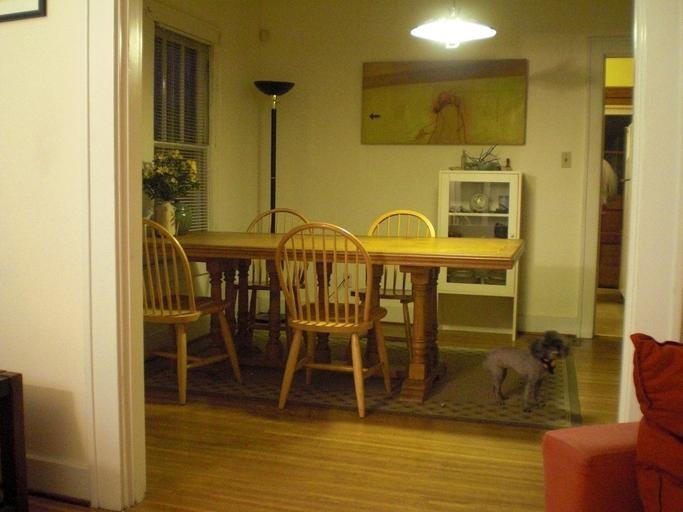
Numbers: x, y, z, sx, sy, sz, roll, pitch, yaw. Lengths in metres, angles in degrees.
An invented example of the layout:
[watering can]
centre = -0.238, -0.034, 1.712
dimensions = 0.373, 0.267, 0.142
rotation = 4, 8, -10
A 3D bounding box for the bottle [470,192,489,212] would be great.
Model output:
[bottle]
centre = 1.159, -0.461, 4.976
dimensions = 0.152, 0.167, 0.044
rotation = 2, 9, 2

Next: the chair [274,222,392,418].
[chair]
centre = -0.050, 0.250, 4.001
dimensions = 0.729, 1.106, 1.969
rotation = 1, 8, -4

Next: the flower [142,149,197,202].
[flower]
centre = -1.200, -0.561, 4.252
dimensions = 0.398, 0.411, 0.388
rotation = 0, 1, -14

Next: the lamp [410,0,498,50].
[lamp]
centre = 0.672, -1.413, 3.553
dimensions = 0.403, 0.246, 0.357
rotation = -3, 9, -29

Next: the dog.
[dog]
centre = 1.071, 0.637, 3.440
dimensions = 0.483, 0.474, 0.206
rotation = -2, 2, 30

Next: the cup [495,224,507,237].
[cup]
centre = 1.333, -0.226, 4.964
dimensions = 0.097, 0.126, 0.134
rotation = 2, 3, 28
